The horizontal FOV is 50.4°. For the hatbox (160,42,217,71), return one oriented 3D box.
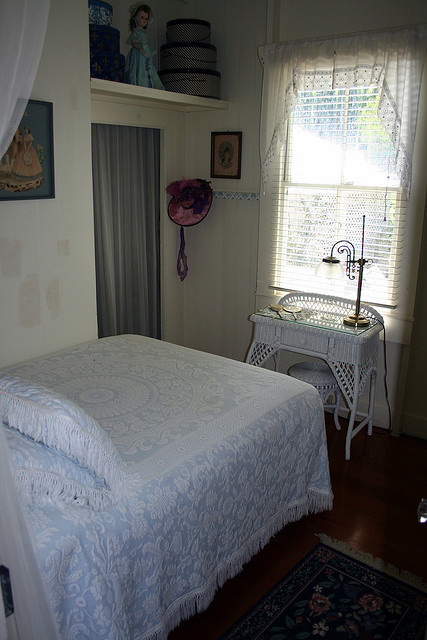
[{"bbox_3d":[-0.175,-2.131,3.671,0.453,0.227,0.388,9,18,15],"label":"hatbox"}]

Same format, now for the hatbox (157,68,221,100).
[{"bbox_3d":[-0.211,-1.818,3.616,0.463,0.258,0.325,-11,23,-42],"label":"hatbox"}]
